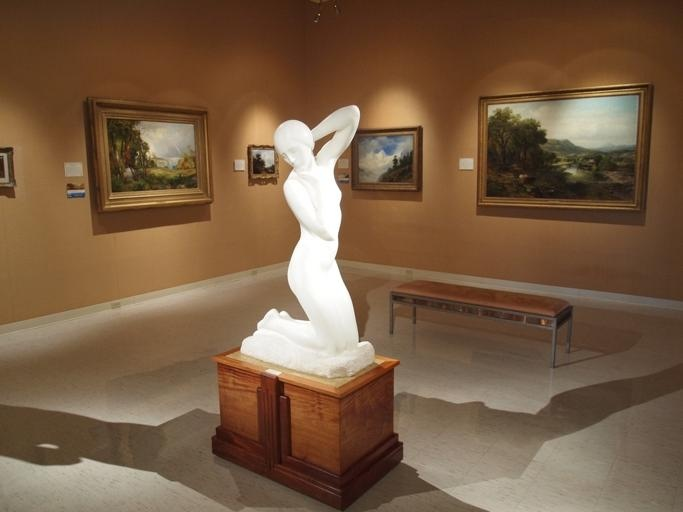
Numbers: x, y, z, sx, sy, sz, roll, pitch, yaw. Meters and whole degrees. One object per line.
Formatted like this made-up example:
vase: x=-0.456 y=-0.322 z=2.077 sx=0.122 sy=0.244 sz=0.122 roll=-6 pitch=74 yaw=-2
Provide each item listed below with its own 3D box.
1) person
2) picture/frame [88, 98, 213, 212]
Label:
person: x=-0.219 y=-0.238 z=4.363 sx=0.707 sy=2.123 sz=0.583 roll=-1 pitch=13 yaw=-7
picture/frame: x=-3.519 y=-1.811 z=8.742 sx=0.161 sy=1.752 sz=2.043 roll=6 pitch=12 yaw=41
